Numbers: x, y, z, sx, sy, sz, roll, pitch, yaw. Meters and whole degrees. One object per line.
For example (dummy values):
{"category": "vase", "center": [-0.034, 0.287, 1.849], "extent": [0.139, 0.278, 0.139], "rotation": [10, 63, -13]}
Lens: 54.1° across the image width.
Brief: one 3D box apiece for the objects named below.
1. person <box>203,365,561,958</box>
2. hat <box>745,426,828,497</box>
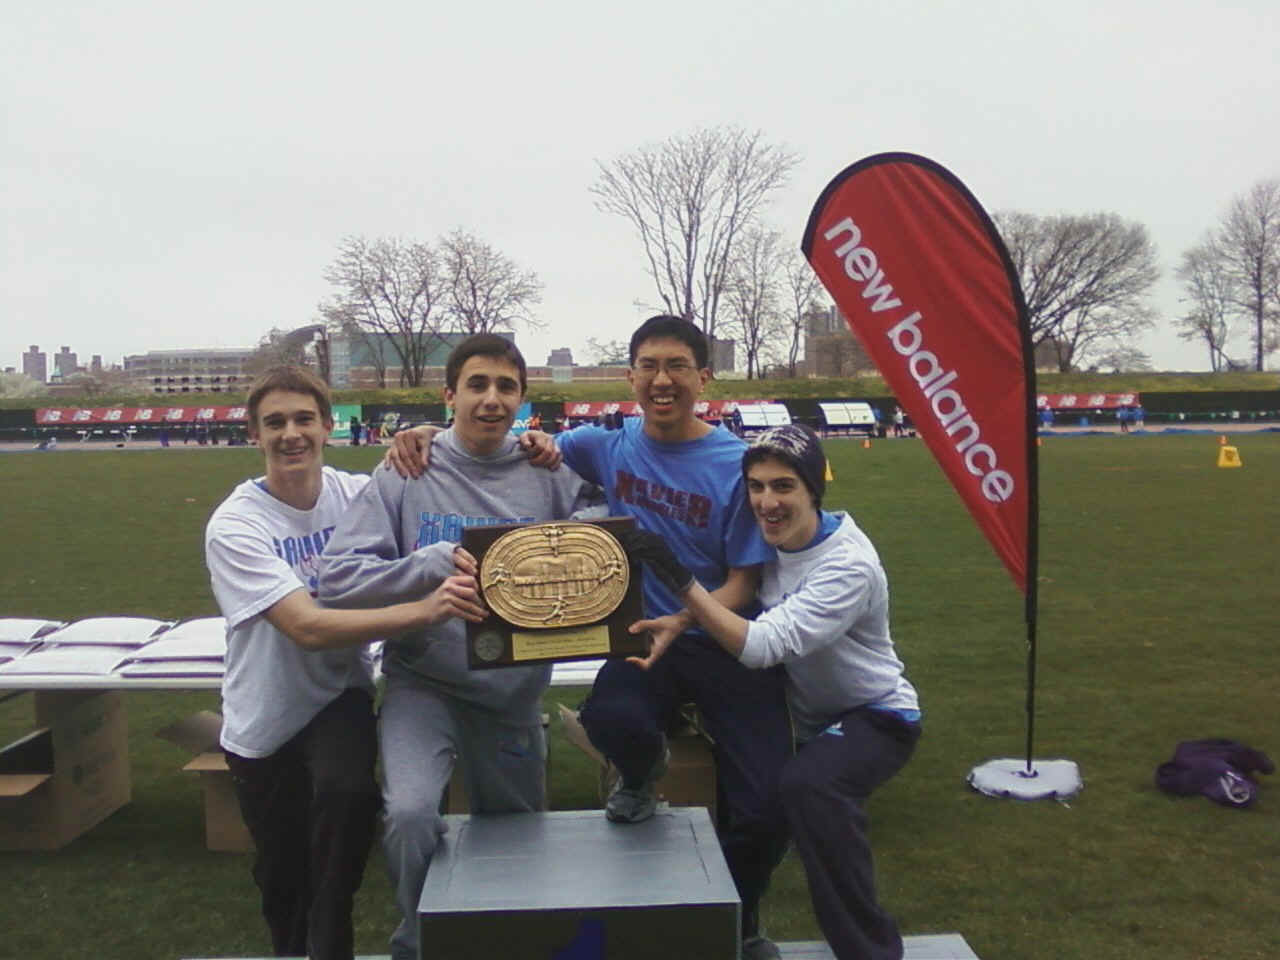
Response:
{"category": "person", "center": [-1.596, 0.947, 6.138], "extent": [0.821, 2.976, 1.143], "rotation": [-6, 5, -33]}
{"category": "hat", "center": [0.703, -0.110, 6.305], "extent": [0.307, 0.352, 0.413], "rotation": [-11, -12, 24]}
